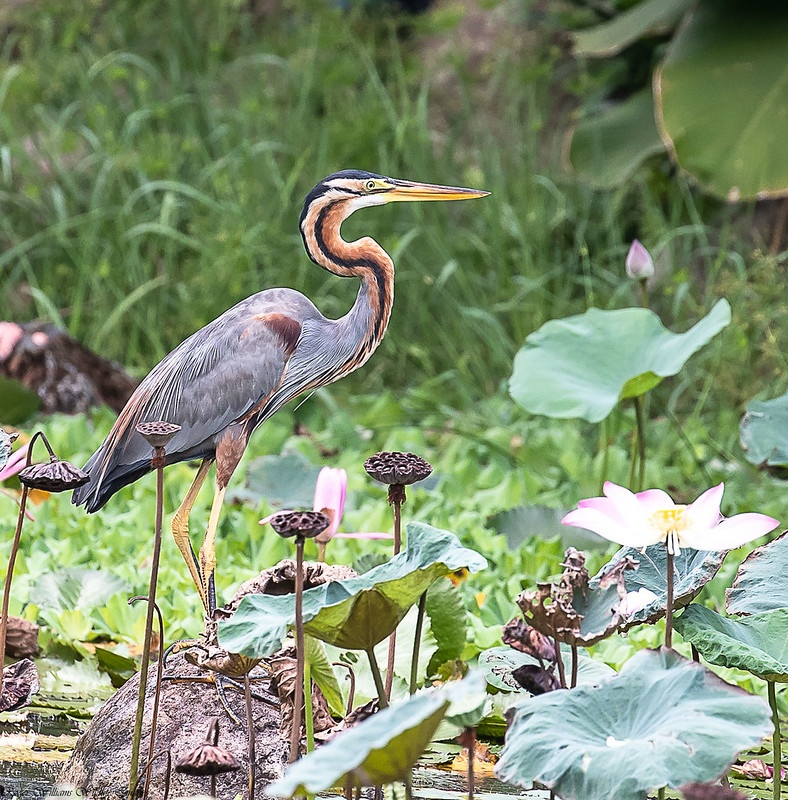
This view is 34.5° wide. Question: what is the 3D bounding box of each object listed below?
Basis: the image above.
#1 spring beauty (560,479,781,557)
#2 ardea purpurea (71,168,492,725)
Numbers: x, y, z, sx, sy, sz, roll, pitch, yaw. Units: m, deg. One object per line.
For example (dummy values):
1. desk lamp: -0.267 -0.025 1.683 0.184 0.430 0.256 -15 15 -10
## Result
1. spring beauty: 0.442 0.191 2.048 0.327 0.119 0.196 3 -6 16
2. ardea purpurea: -0.405 0.010 3.540 0.906 1.317 0.361 4 -2 -1
